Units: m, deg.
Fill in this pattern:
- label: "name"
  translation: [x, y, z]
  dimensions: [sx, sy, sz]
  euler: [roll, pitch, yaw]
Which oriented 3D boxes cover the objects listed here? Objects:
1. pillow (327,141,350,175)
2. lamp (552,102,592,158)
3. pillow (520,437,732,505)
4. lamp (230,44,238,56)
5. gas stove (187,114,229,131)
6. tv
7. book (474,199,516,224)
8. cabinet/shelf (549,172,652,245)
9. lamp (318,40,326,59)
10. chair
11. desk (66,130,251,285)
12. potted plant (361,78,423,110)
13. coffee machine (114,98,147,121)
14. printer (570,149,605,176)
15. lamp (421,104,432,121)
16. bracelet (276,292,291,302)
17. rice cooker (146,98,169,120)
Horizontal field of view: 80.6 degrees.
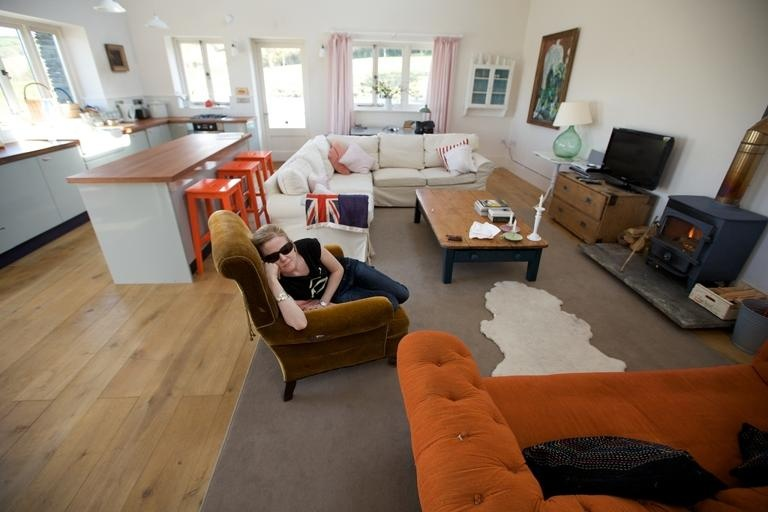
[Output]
- label: "pillow"
  translation: [-0.619, -1.339, 6.164]
  dimensions: [0.271, 0.350, 0.460]
  euler: [-4, 26, -6]
- label: "lamp"
  translation: [2.540, -1.712, 6.197]
  dimensions: [0.516, 0.707, 0.511]
  euler: [8, 9, 32]
- label: "pillow"
  translation: [1.374, 1.248, 2.667]
  dimensions: [0.811, 0.220, 0.480]
  euler: [-1, 16, 9]
- label: "lamp"
  translation: [-2.441, -3.369, 7.394]
  dimensions: [0.131, 0.168, 0.045]
  euler: [7, 28, 15]
- label: "gas stove"
  translation: [-2.902, -2.232, 7.542]
  dimensions: [0.540, 0.225, 0.442]
  euler: [-2, 26, -4]
- label: "tv"
  translation: [2.937, -1.141, 5.333]
  dimensions: [0.209, 0.651, 0.887]
  euler: [-4, 26, -15]
- label: "book"
  translation: [1.208, -0.437, 4.977]
  dimensions: [0.275, 0.091, 0.392]
  euler: [1, 25, -3]
- label: "cabinet/shelf"
  translation: [2.621, -0.620, 5.679]
  dimensions: [0.612, 0.618, 0.997]
  euler: [-3, 27, -12]
- label: "lamp"
  translation: [-1.007, -3.416, 7.460]
  dimensions: [0.123, 0.250, 0.155]
  euler: [-4, 27, -6]
- label: "chair"
  translation: [-0.624, 0.344, 3.886]
  dimensions: [1.485, 1.377, 1.230]
  euler: [-8, 26, -22]
- label: "desk"
  translation: [-2.320, -0.450, 4.612]
  dimensions: [0.746, 0.850, 1.747]
  euler: [1, 34, -1]
- label: "potted plant"
  translation: [0.022, -2.904, 7.988]
  dimensions: [0.838, 0.490, 0.275]
  euler: [-2, 27, -3]
- label: "coffee machine"
  translation: [-3.992, -2.361, 7.228]
  dimensions: [0.313, 0.318, 0.754]
  euler: [-4, 26, -7]
- label: "printer"
  translation: [2.640, -1.200, 5.901]
  dimensions: [0.424, 0.252, 0.407]
  euler: [-7, 27, -7]
- label: "lamp"
  translation: [0.724, -2.544, 8.004]
  dimensions: [0.216, 0.257, 0.517]
  euler: [1, 25, 4]
- label: "bracelet"
  translation: [-0.749, 0.300, 3.356]
  dimensions: [0.099, 0.060, 0.054]
  euler: [-13, 29, -24]
- label: "rice cooker"
  translation: [-3.698, -2.484, 7.588]
  dimensions: [0.310, 0.346, 0.398]
  euler: [2, 28, -10]
